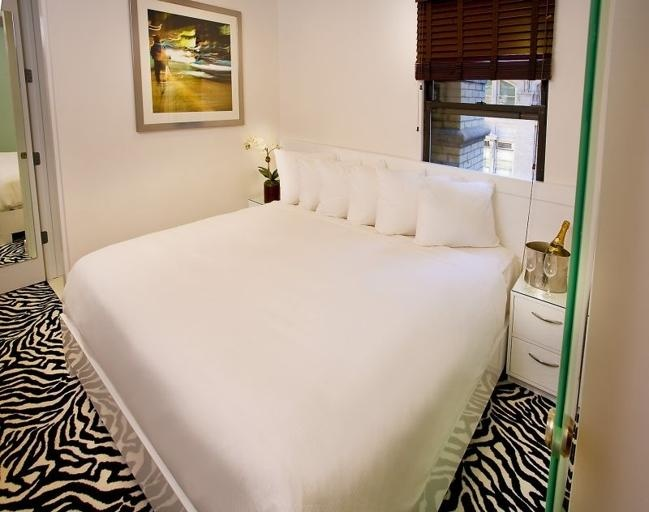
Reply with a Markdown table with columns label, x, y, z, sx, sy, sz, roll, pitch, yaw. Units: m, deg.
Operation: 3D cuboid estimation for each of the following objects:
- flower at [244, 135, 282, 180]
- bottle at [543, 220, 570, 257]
| label | x | y | z | sx | sy | sz | roll | pitch | yaw |
| --- | --- | --- | --- | --- | --- | --- | --- | --- | --- |
| flower | -0.528 | -0.918 | 4.082 | 0.452 | 0.421 | 0.422 | 14 | 22 | 37 |
| bottle | 1.270 | -0.101 | 2.276 | 0.179 | 0.177 | 0.073 | -15 | 23 | -41 |
